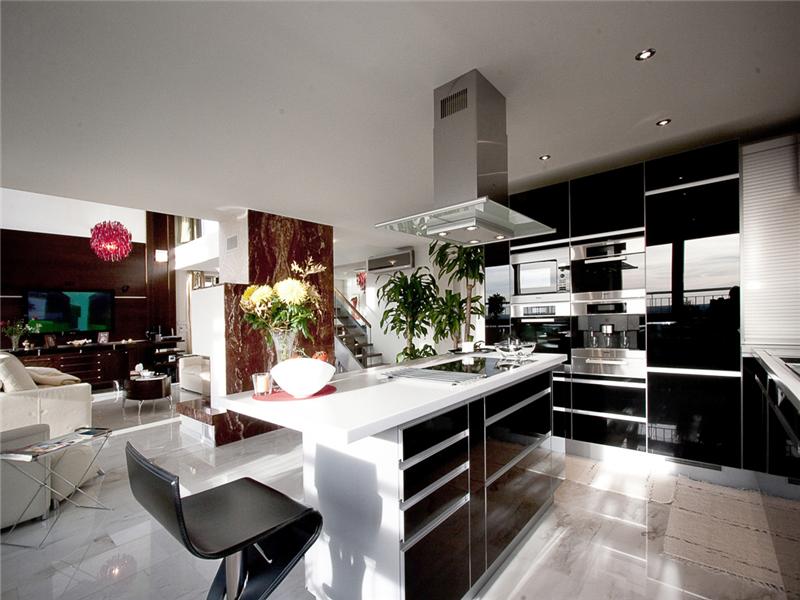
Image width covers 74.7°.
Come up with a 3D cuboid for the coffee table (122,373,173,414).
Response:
[{"bbox_3d":[-3.555,1.297,7.388,0.491,0.379,0.507,-6,-1,-12],"label":"coffee table"}]

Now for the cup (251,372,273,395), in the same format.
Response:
[{"bbox_3d":[-0.929,0.556,3.544,0.124,0.149,0.132,-1,-5,0],"label":"cup"}]

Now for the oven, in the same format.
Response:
[{"bbox_3d":[2.102,-0.263,5.180,0.702,0.874,0.414,-3,-5,39],"label":"oven"}]

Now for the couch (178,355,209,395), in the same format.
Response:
[{"bbox_3d":[-3.136,1.112,7.920,0.740,0.525,0.430,0,-3,39],"label":"couch"}]

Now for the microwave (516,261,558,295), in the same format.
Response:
[{"bbox_3d":[1.475,-0.242,5.634,0.533,0.400,0.288,0,0,40],"label":"microwave"}]

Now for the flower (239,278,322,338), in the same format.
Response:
[{"bbox_3d":[-0.816,0.032,3.606,0.423,0.333,0.427,-2,4,-34],"label":"flower"}]

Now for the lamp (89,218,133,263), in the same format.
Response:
[{"bbox_3d":[-5.061,-1.104,8.995,0.772,0.310,0.787,1,-2,-32],"label":"lamp"}]
